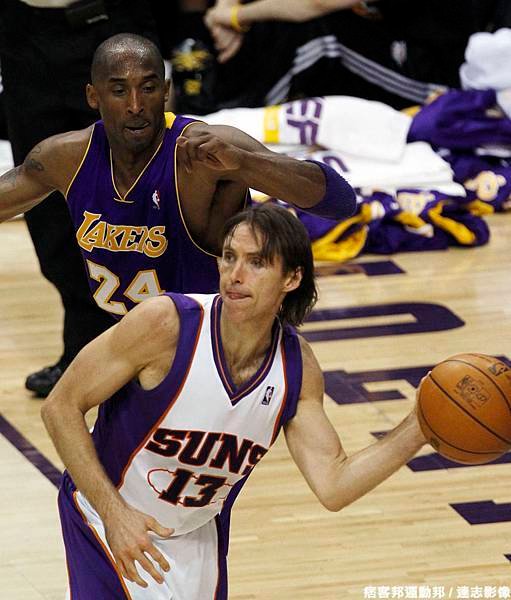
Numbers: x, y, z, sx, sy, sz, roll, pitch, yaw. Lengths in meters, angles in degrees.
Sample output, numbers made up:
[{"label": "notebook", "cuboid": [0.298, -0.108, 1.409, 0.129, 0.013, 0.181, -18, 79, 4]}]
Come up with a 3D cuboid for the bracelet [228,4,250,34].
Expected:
[{"label": "bracelet", "cuboid": [-0.133, -1.945, 4.869, 0.079, 0.168, 0.132, -16, 45, -23]}]
